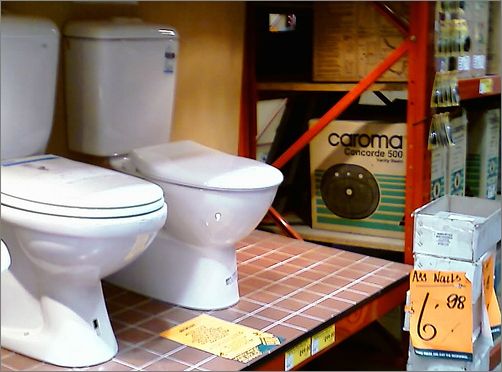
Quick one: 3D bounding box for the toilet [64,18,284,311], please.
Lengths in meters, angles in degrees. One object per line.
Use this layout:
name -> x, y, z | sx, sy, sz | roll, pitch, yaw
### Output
toilet -> -0.360, -0.114, 1.966 | 0.981, 1.140, 0.547 | 11, 15, 34

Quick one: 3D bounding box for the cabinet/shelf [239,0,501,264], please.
cabinet/shelf -> 0.603, -0.274, 2.285 | 0.782, 1.141, 1.141 | 6, 16, 25

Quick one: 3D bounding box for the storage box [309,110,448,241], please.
storage box -> 0.561, -0.027, 2.493 | 0.541, 0.559, 0.297 | 2, -6, -8
